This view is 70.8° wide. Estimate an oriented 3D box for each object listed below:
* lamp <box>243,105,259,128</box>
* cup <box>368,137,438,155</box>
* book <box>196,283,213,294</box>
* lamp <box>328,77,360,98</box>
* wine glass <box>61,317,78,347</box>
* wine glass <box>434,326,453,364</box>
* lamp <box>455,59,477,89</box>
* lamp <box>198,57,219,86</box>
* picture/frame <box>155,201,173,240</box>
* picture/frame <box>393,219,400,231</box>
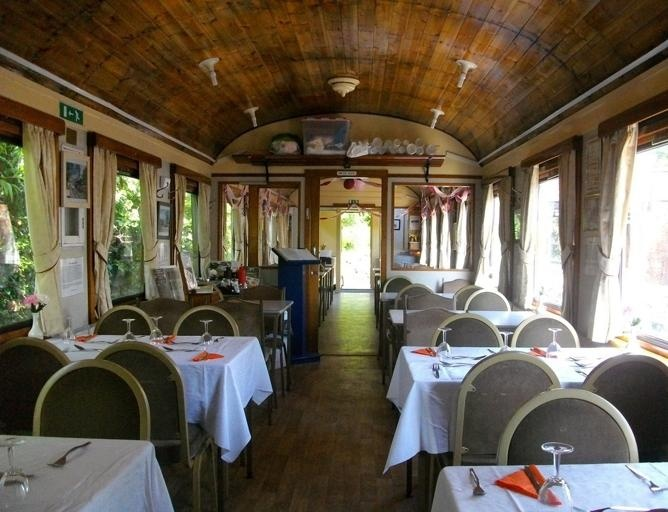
[{"bbox_3d":[-1.366,-2.369,7.867,0.243,0.274,0.256,-7,-41,-14],"label":"lamp"},{"bbox_3d":[1.252,-2.000,8.515,0.564,0.182,0.385,4,-1,-22],"label":"cup"},{"bbox_3d":[-1.995,0.505,7.247,0.182,0.178,0.179,1,-5,-8],"label":"book"},{"bbox_3d":[0.148,-2.593,7.265,0.482,0.205,0.658,1,4,-1],"label":"lamp"},{"bbox_3d":[-1.953,0.552,3.470,0.072,0.237,0.162,-2,6,-31],"label":"wine glass"},{"bbox_3d":[0.799,0.622,3.473,0.121,0.205,0.446,2,5,14],"label":"wine glass"},{"bbox_3d":[1.672,-2.281,5.961,0.237,0.308,0.928,2,5,14],"label":"lamp"},{"bbox_3d":[-1.573,-2.333,5.889,0.262,0.319,0.094,-16,-1,-5],"label":"lamp"},{"bbox_3d":[-2.454,-0.519,6.911,0.029,0.548,0.728,0,6,-39],"label":"picture/frame"},{"bbox_3d":[2.216,-1.111,16.541,0.193,0.393,0.143,0,5,-13],"label":"picture/frame"}]
